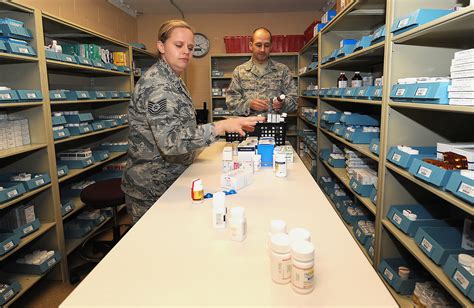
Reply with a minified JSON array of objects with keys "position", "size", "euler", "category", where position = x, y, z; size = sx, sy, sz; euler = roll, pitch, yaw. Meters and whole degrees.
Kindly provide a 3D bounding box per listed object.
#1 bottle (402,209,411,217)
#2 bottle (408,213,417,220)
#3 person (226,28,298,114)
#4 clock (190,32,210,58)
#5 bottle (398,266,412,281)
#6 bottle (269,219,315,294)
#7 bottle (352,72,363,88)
[{"position":[1.313,0.450,2.135],"size":[0.051,0.044,0.052],"euler":[-6,1,35],"category":"bottle"},{"position":[1.315,0.473,2.074],"size":[0.053,0.036,0.066],"euler":[10,17,33],"category":"bottle"},{"position":[0.348,-0.964,3.855],"size":[1.019,1.439,0.811],"euler":[-3,10,-6],"category":"person"},{"position":[-0.863,-2.373,6.107],"size":[0.545,0.520,0.071],"euler":[6,14,20],"category":"clock"},{"position":[1.280,0.902,2.122],"size":[0.086,0.080,0.083],"euler":[-4,11,-8],"category":"bottle"},{"position":[0.270,0.501,1.334],"size":[0.214,0.228,0.183],"euler":[5,15,17],"category":"bottle"},{"position":[1.256,-0.780,2.895],"size":[0.092,0.147,0.199],"euler":[6,15,22],"category":"bottle"}]
